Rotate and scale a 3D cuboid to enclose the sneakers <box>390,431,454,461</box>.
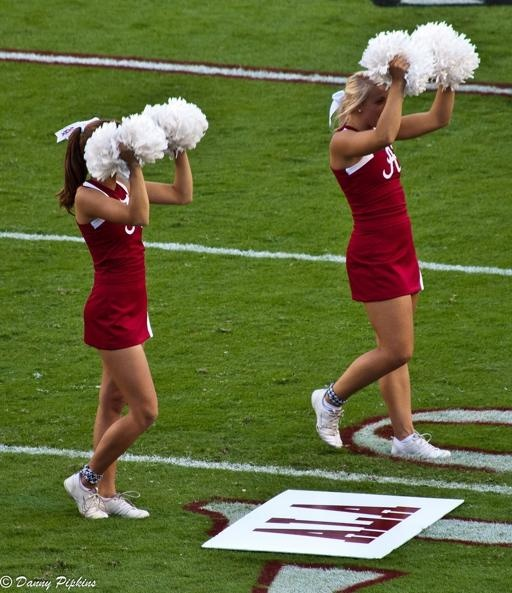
[{"bbox_3d":[0.801,0.697,6.008,0.327,0.121,0.108,2,3,1],"label":"sneakers"}]

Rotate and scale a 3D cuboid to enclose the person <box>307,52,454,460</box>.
[{"bbox_3d":[0.582,-0.193,5.867,0.629,1.882,0.630,0,21,2],"label":"person"}]

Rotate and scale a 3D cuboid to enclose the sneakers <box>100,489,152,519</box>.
[{"bbox_3d":[-0.564,0.879,5.451,0.249,0.087,0.080,8,9,6],"label":"sneakers"}]

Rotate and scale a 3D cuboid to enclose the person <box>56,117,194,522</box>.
[{"bbox_3d":[-0.564,0.081,5.411,0.561,1.650,0.692,-2,21,-4],"label":"person"}]

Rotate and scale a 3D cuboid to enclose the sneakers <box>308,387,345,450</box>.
[{"bbox_3d":[0.325,0.583,6.063,0.116,0.312,0.153,-13,-6,-45],"label":"sneakers"}]
